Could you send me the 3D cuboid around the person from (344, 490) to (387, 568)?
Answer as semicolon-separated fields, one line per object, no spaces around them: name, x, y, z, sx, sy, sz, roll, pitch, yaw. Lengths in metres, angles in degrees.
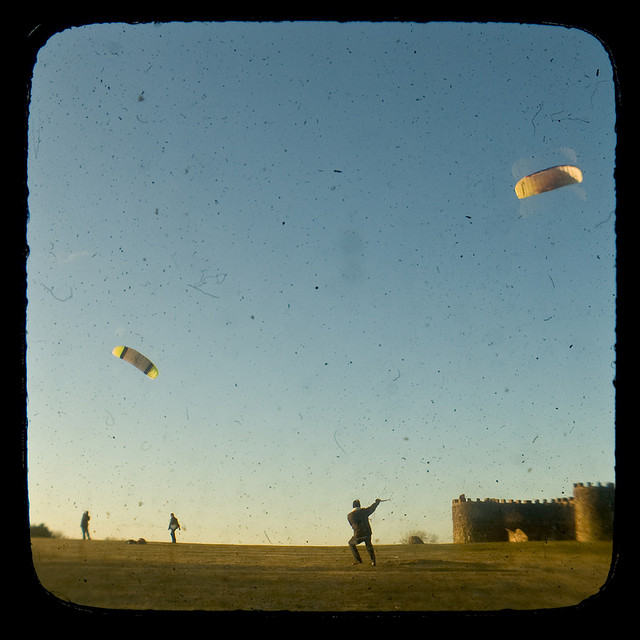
person;0.549;2.553;13.932;0.413;0.956;0.314;1;19;9

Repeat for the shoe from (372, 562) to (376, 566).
shoe;0.691;3.157;14.577;0.037;0.076;0.039;-1;9;6

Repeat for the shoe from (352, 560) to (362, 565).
shoe;0.468;3.156;14.710;0.102;0.086;0.052;-21;-22;27

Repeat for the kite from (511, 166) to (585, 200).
kite;2.513;-1.521;12.512;0.225;0.437;1.416;0;11;-11
